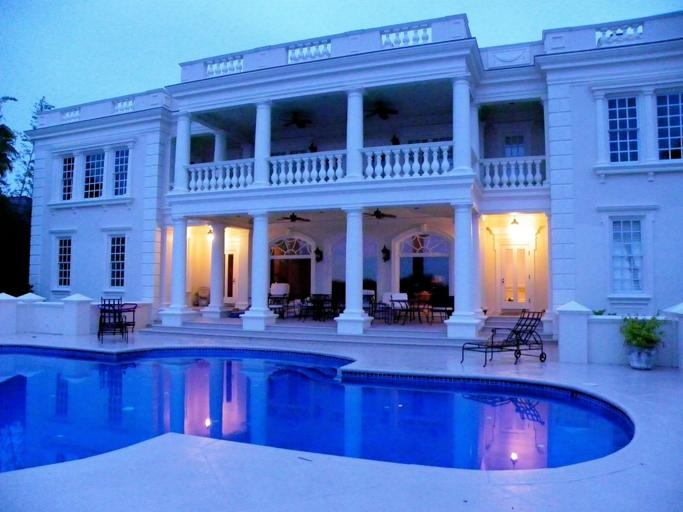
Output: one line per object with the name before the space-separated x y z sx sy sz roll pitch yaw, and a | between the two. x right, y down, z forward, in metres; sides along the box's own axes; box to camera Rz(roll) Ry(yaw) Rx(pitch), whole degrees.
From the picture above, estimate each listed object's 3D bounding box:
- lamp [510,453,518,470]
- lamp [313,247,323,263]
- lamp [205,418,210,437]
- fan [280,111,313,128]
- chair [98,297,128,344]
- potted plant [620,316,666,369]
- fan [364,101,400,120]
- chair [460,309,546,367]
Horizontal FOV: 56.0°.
lamp | 2.728 3.234 10.209 0.090 0.107 0.098 -1 3 32
lamp | -0.887 -0.060 24.100 0.375 0.528 0.164 1 -4 9
lamp | -2.439 3.105 11.700 0.114 0.207 0.114 -1 1 -9
fan | -1.495 -4.601 21.506 0.460 0.492 0.472 0 1 -29
chair | -7.010 1.965 19.608 0.776 1.385 0.838 -3 -1 -17
potted plant | 6.841 1.998 14.618 0.867 1.141 0.869 -4 2 8
fan | 1.132 -4.645 20.209 0.568 0.334 0.666 2 2 24
chair | 4.148 2.096 16.455 1.085 1.328 2.047 9 -14 -32
